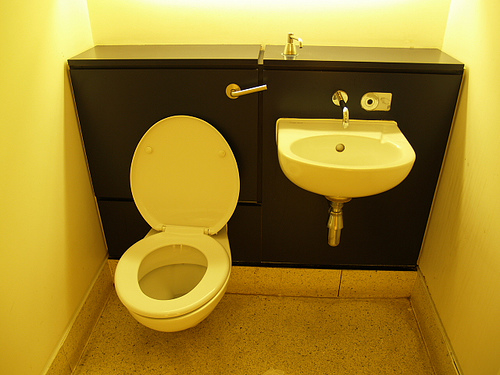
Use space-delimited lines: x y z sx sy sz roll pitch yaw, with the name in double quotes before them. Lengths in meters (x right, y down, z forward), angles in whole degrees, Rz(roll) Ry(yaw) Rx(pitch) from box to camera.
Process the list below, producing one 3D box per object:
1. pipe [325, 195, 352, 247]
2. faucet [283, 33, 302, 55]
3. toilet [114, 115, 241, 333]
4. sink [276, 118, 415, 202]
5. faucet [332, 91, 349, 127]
"pipe" 0.418 0.148 1.996 0.130 0.255 0.147 0 31 2
"faucet" 0.194 -0.671 1.933 0.082 0.089 0.280 0 31 6
"toilet" -0.325 0.236 1.851 0.492 0.921 0.792 4 27 4
"sink" 0.411 -0.149 1.777 0.421 0.277 0.392 0 44 4
"faucet" 0.395 -0.349 1.842 0.065 0.158 0.063 -4 15 6
